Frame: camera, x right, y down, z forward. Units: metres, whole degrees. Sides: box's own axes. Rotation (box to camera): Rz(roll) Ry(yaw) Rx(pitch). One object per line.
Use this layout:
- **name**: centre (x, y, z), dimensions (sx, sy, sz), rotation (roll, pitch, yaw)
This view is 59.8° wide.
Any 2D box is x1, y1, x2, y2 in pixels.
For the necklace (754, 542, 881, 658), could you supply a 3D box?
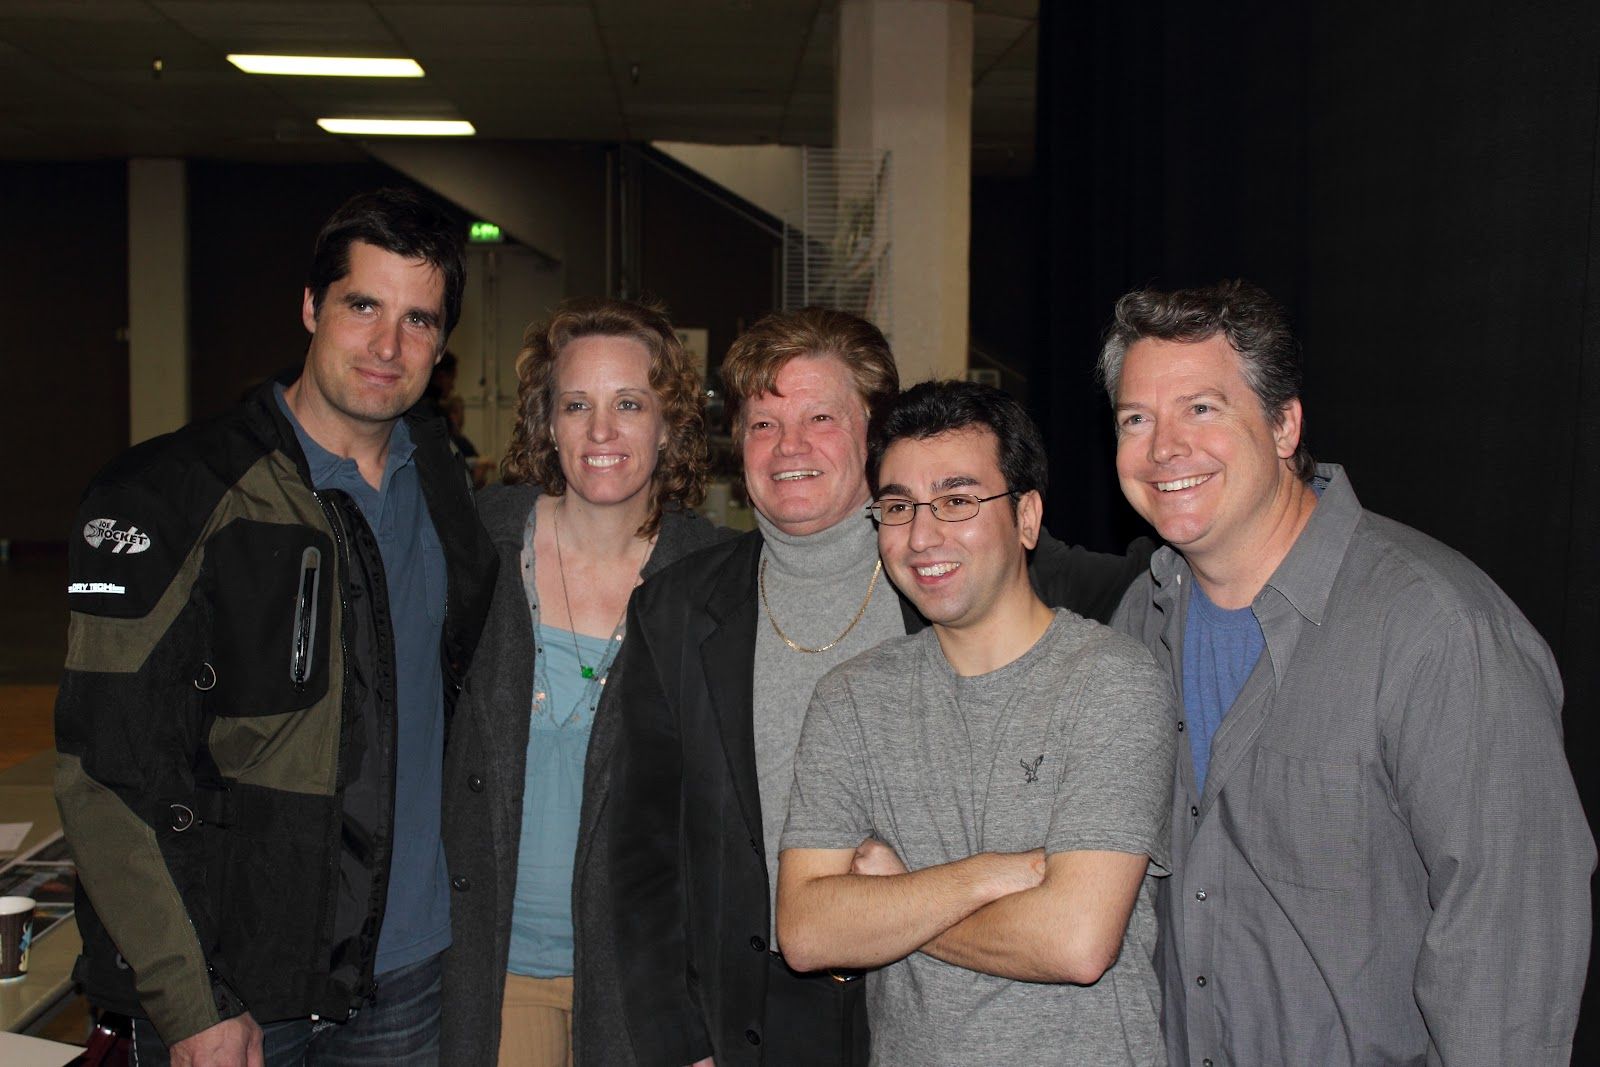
- **necklace**: centre (0.053, 0.183, 3.502), dimensions (0.224, 0.290, 0.072), rotation (-2, -9, 9)
